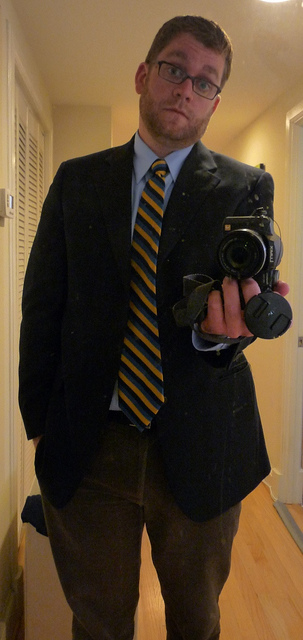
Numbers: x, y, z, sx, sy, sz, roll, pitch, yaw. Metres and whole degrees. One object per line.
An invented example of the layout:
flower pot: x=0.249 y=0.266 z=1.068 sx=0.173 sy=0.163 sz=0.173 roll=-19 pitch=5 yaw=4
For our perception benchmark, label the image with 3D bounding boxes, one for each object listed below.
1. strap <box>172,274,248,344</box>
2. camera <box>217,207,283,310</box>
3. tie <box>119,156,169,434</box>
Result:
strap: x=0.102 y=-0.031 z=0.744 sx=0.102 sy=0.079 sz=0.141 roll=27 pitch=-27 yaw=-20
camera: x=0.179 y=-0.132 z=0.785 sx=0.108 sy=0.088 sz=0.207 roll=5 pitch=19 yaw=32
tie: x=-0.015 y=-0.052 z=0.842 sx=0.081 sy=0.357 sz=0.061 roll=2 pitch=1 yaw=-2
